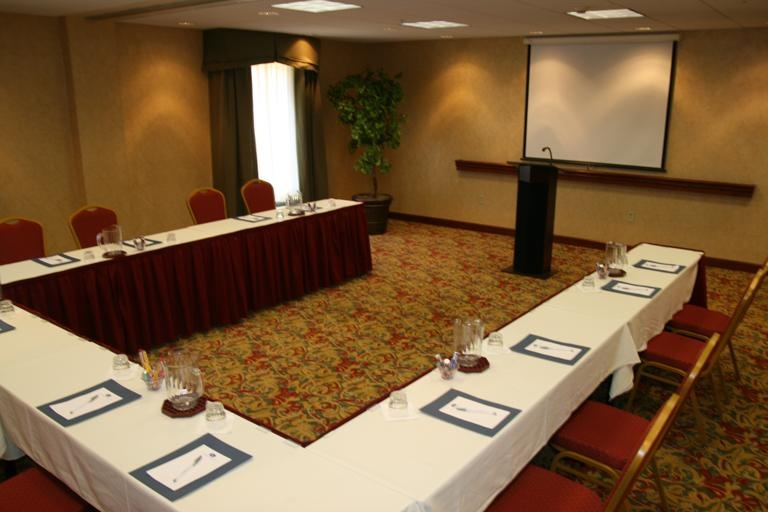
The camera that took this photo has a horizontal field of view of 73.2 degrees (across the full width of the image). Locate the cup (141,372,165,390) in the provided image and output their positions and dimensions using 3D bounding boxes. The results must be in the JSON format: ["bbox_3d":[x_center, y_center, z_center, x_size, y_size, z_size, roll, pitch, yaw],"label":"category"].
[{"bbox_3d":[-1.459,0.764,3.248,0.106,0.081,0.113,2,15,0],"label":"cup"}]

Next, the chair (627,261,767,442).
[{"bbox_3d":[2.662,0.852,4.427,0.778,1.276,0.686,18,41,33],"label":"chair"}]

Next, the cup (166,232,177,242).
[{"bbox_3d":[-2.244,-0.192,5.411,0.103,0.106,0.106,1,4,0],"label":"cup"}]

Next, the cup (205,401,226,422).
[{"bbox_3d":[-0.984,0.892,3.018,0.113,0.113,0.107,0,4,0],"label":"cup"}]

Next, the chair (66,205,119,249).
[{"bbox_3d":[-3.188,-0.314,5.617,0.396,0.674,0.381,19,26,39],"label":"chair"}]

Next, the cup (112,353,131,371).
[{"bbox_3d":[-1.708,0.685,3.354,0.080,0.095,0.112,-1,5,-17],"label":"cup"}]

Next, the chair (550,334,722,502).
[{"bbox_3d":[1.748,1.134,3.604,0.670,1.112,0.587,20,37,33],"label":"chair"}]

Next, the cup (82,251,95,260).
[{"bbox_3d":[-2.815,-0.001,4.910,0.087,0.068,0.089,1,8,0],"label":"cup"}]

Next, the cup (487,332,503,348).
[{"bbox_3d":[0.776,0.581,3.628,0.087,0.068,0.089,-1,10,0],"label":"cup"}]
